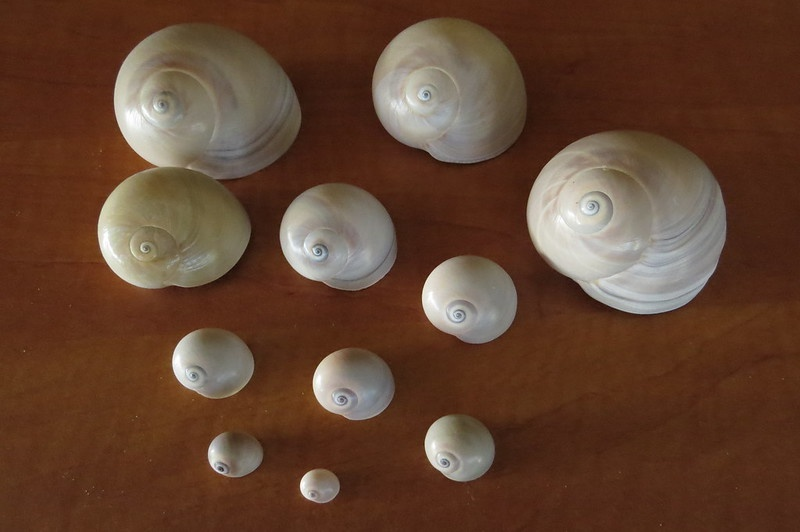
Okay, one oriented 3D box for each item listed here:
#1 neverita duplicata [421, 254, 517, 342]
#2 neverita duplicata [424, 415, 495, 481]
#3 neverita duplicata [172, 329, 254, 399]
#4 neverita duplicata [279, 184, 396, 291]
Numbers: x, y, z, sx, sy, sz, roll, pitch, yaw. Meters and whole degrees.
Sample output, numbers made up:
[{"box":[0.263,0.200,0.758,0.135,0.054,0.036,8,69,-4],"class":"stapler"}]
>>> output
[{"box":[0.117,0.057,1.321,0.156,0.077,0.132,30,-76,-6],"class":"neverita duplicata"},{"box":[0.101,0.301,1.342,0.114,0.070,0.090,31,-76,-6],"class":"neverita duplicata"},{"box":[-0.316,0.170,1.369,0.124,0.087,0.126,-6,-75,4],"class":"neverita duplicata"},{"box":[-0.098,-0.052,1.317,0.188,0.113,0.150,22,-75,-3],"class":"neverita duplicata"}]
